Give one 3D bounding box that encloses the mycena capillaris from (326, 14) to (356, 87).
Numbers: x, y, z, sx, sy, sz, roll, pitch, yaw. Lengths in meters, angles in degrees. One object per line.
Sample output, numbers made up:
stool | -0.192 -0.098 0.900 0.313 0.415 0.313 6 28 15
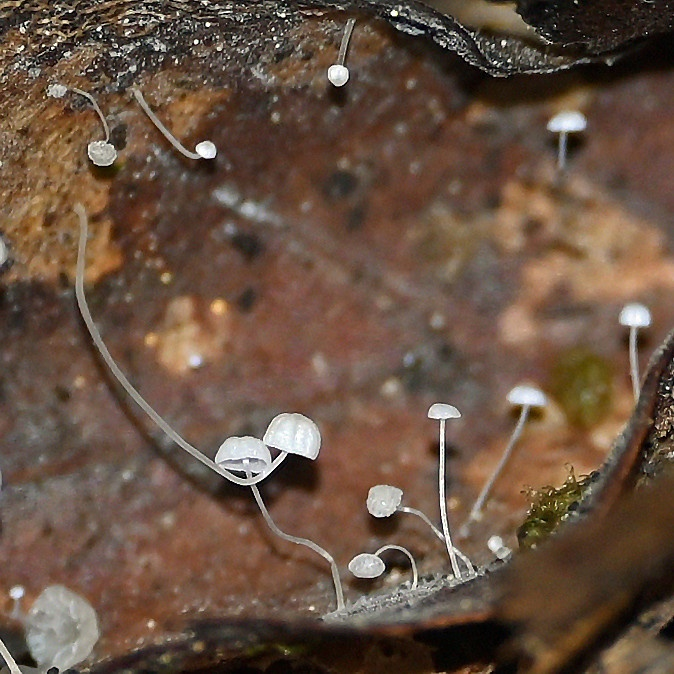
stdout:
mycena capillaris | 0.018 -1.293 4.739 0.117 0.050 0.296 14 92 -13
